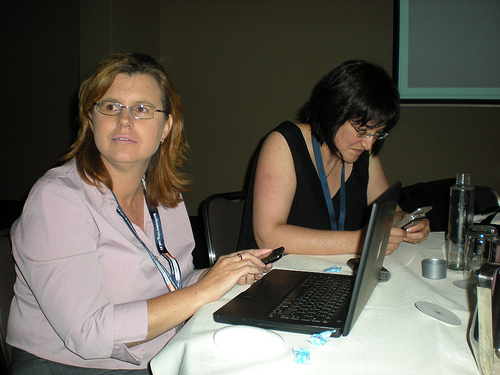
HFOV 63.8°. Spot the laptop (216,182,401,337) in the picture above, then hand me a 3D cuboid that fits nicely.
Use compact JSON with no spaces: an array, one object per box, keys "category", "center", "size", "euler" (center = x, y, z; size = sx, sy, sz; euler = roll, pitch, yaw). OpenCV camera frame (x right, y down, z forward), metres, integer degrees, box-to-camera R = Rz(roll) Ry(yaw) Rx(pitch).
[{"category":"laptop","center":[0.167,0.097,1.166],"size":[0.427,0.335,0.458],"euler":[4,10,23]}]

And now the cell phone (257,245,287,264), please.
[{"category":"cell phone","center":[0.075,0.231,1.404],"size":[0.080,0.022,0.050],"euler":[-14,38,17]}]
